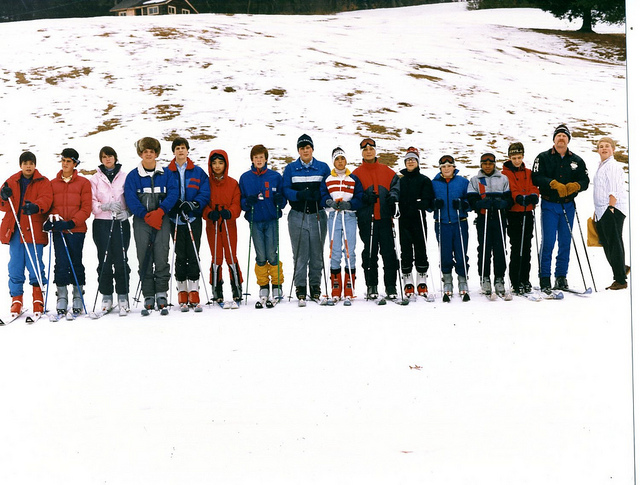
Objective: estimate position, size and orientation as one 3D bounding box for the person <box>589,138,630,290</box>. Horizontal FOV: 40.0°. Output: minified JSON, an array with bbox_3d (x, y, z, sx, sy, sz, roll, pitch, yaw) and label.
[{"bbox_3d":[5.329,-0.524,16.059,0.770,2.695,0.480,6,13,32],"label":"person"}]

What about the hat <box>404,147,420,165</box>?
[{"bbox_3d":[1.694,-1.648,16.201,0.198,0.271,0.296,1,-13,8],"label":"hat"}]

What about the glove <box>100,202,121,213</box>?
[{"bbox_3d":[-3.669,-0.640,15.535,0.250,0.102,0.194,2,13,-7],"label":"glove"}]

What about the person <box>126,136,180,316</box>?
[{"bbox_3d":[-2.995,-0.347,15.703,0.820,2.998,0.795,5,13,29],"label":"person"}]

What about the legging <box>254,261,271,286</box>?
[{"bbox_3d":[-1.015,0.547,15.924,0.315,0.518,0.288,-8,-11,-13],"label":"legging"}]

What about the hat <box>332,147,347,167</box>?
[{"bbox_3d":[0.356,-1.605,15.976,0.208,0.278,0.291,-3,-18,-2],"label":"hat"}]

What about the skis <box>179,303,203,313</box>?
[{"bbox_3d":[-2.266,1.155,15.656,0.398,0.137,0.261,-4,13,-12],"label":"skis"}]

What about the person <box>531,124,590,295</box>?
[{"bbox_3d":[4.336,-0.613,15.903,0.902,2.914,0.803,-3,11,-13],"label":"person"}]

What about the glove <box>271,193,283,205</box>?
[{"bbox_3d":[-0.739,-0.790,15.751,0.197,0.305,0.165,-1,-11,0],"label":"glove"}]

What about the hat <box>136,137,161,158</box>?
[{"bbox_3d":[-3.054,-1.726,15.728,0.353,0.313,0.299,2,9,20],"label":"hat"}]

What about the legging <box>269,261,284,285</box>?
[{"bbox_3d":[-0.790,0.548,15.976,0.329,0.516,0.292,-2,22,4],"label":"legging"}]

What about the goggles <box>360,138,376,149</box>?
[{"bbox_3d":[0.879,-1.826,16.063,0.183,0.221,0.074,-2,3,3],"label":"goggles"}]

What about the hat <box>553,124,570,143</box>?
[{"bbox_3d":[4.401,-2.034,16.036,0.316,0.290,0.428,0,15,8],"label":"hat"}]

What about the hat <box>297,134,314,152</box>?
[{"bbox_3d":[-0.262,-1.871,16.082,0.274,0.206,0.314,-1,12,-1],"label":"hat"}]

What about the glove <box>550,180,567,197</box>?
[{"bbox_3d":[4.250,-0.963,15.692,0.298,0.294,0.140,2,12,15],"label":"glove"}]

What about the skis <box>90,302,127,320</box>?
[{"bbox_3d":[-3.840,1.206,15.547,0.214,0.187,1.012,8,5,-6],"label":"skis"}]

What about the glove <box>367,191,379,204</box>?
[{"bbox_3d":[0.958,-0.802,15.840,0.176,0.211,0.158,2,12,15],"label":"glove"}]

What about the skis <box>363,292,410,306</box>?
[{"bbox_3d":[1.277,1.048,15.756,0.195,0.178,1.518,9,-1,-11],"label":"skis"}]

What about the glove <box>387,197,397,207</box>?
[{"bbox_3d":[1.307,-0.746,15.837,0.161,0.203,0.319,1,13,8],"label":"glove"}]

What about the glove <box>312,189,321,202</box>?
[{"bbox_3d":[-0.044,-0.835,15.799,0.142,0.217,0.306,0,12,2],"label":"glove"}]

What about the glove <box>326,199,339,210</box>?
[{"bbox_3d":[0.231,-0.696,15.716,0.243,0.155,0.072,8,14,34],"label":"glove"}]

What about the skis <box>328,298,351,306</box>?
[{"bbox_3d":[0.358,1.062,15.738,0.401,0.107,0.138,-1,12,1],"label":"skis"}]
